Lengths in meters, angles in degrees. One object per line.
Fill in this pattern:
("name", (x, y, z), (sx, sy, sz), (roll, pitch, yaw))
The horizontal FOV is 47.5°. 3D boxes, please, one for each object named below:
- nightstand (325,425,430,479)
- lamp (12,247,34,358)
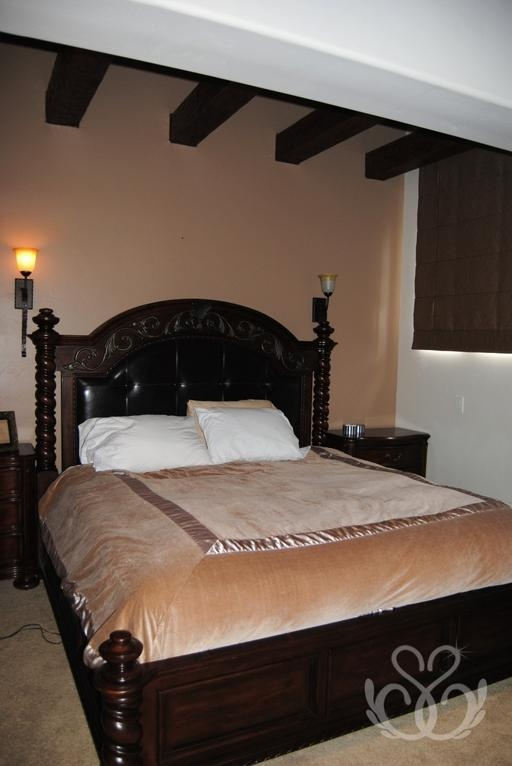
("nightstand", (0.866, 0.433, 4.099), (0.565, 0.528, 0.409), (-3, 8, -24))
("lamp", (-1.267, -0.435, 3.222), (0.123, 0.589, 0.138), (-1, 5, -22))
